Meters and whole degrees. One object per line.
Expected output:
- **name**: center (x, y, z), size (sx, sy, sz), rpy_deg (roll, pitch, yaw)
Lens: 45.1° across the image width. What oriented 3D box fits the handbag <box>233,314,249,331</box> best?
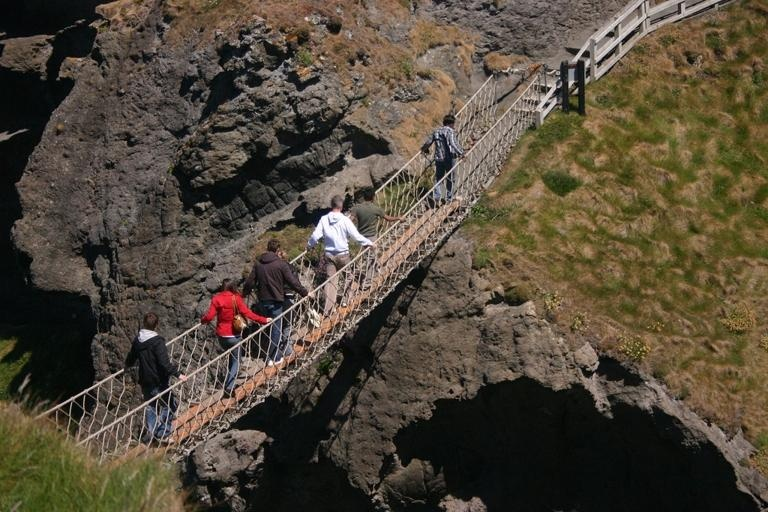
- **handbag**: center (-5.125, 2.443, 33.063), size (0.346, 0.755, 0.693), rpy_deg (-10, -2, 15)
